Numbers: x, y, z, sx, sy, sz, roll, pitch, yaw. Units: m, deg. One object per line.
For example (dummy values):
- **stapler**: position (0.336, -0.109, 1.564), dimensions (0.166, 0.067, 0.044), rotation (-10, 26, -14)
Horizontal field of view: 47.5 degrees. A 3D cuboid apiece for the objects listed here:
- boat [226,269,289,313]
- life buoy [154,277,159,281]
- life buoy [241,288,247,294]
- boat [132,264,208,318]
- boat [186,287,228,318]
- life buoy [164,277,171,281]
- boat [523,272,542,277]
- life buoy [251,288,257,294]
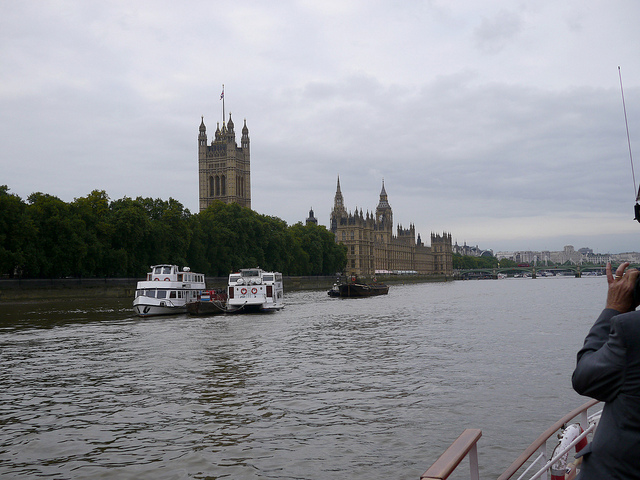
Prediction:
- **boat**: position (-5.354, 4.305, 61.746), dimensions (2.998, 3.618, 5.256), rotation (-4, -4, 42)
- **life buoy**: position (-12.632, 3.012, 56.184), dimensions (0.328, 0.246, 0.269), rotation (-1, -3, -15)
- **life buoy**: position (-6.354, 4.248, 60.487), dimensions (0.484, 0.480, 0.154), rotation (2, -4, -3)
- **boat**: position (-11.779, 3.958, 57.716), dimensions (2.254, 3.980, 7.233), rotation (-2, -3, 22)
- **boat**: position (-9.399, 5.186, 59.567), dimensions (1.779, 1.691, 5.569), rotation (-2, -5, 11)
- **life buoy**: position (-11.863, 3.028, 56.393), dimensions (0.284, 0.282, 0.064), rotation (-2, 6, -6)
- **boat**: position (94.772, 15.400, 322.806), dimensions (7.394, 1.868, 52.848), rotation (-2, -3, 16)
- **life buoy**: position (-5.488, 4.241, 60.638), dimensions (0.470, 0.472, 0.096), rotation (0, -3, -20)
